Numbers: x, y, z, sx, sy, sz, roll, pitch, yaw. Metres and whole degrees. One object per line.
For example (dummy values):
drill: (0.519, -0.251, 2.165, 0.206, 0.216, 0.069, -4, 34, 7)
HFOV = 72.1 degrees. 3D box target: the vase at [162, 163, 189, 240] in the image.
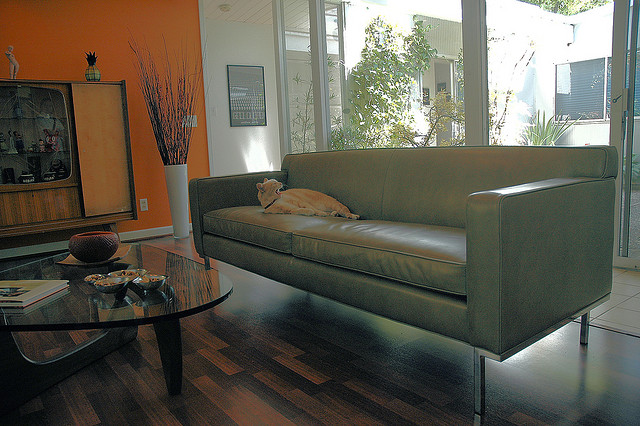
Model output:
vase: (-1.611, -0.141, 5.084, 0.304, 0.856, 0.209, -15, 18, -38)

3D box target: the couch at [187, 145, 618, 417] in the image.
couch: (0.419, 0.174, 2.775, 1.033, 1.119, 2.220, -16, 18, -43)

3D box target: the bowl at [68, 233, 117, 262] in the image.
bowl: (-1.306, 0.199, 2.531, 0.182, 0.100, 0.185, -3, -1, 0)

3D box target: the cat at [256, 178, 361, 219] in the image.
cat: (-0.088, -0.028, 3.365, 0.822, 0.291, 0.332, 6, 58, 8)

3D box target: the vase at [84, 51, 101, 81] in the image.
vase: (-2.466, -1.576, 4.740, 0.136, 0.316, 0.337, -10, 15, -25)

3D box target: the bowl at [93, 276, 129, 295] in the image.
bowl: (-1.031, 0.365, 2.198, 0.155, 0.071, 0.083, -12, 16, -34)

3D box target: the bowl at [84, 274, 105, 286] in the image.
bowl: (-1.179, 0.341, 2.299, 0.078, 0.024, 0.077, 0, -1, 0)

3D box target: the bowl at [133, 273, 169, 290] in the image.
bowl: (-0.859, 0.347, 2.220, 0.107, 0.037, 0.093, 0, 7, -19)
